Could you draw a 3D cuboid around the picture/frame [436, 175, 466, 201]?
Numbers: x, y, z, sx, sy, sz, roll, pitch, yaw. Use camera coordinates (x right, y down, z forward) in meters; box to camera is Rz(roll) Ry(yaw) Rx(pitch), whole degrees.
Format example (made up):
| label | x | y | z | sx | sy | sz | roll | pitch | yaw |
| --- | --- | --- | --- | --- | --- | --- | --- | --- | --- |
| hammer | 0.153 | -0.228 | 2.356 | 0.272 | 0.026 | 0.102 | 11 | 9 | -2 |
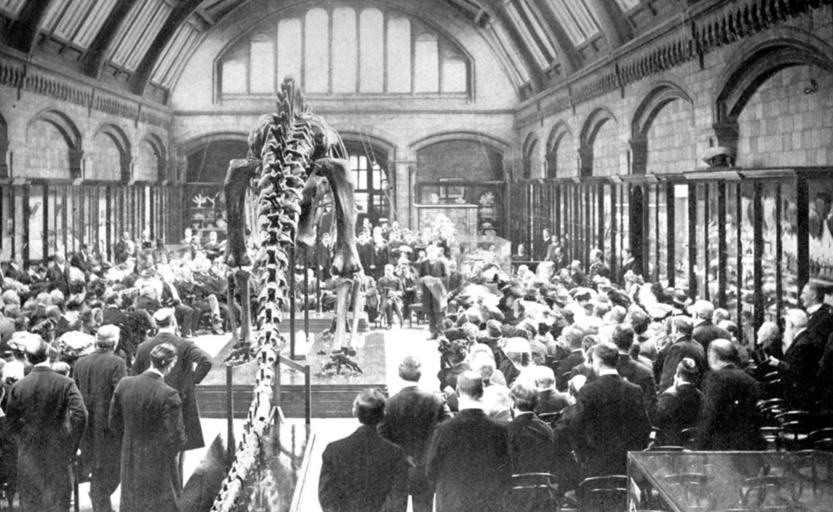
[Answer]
| label | x | y | z | sx | sy | sz | roll | pitch | yaw |
| --- | --- | --- | --- | --- | --- | --- | --- | --- | --- |
| picture/frame | 1.237 | -2.443 | 36.029 | 1.298 | 1.145 | 0.716 | 0 | 0 | 0 |
